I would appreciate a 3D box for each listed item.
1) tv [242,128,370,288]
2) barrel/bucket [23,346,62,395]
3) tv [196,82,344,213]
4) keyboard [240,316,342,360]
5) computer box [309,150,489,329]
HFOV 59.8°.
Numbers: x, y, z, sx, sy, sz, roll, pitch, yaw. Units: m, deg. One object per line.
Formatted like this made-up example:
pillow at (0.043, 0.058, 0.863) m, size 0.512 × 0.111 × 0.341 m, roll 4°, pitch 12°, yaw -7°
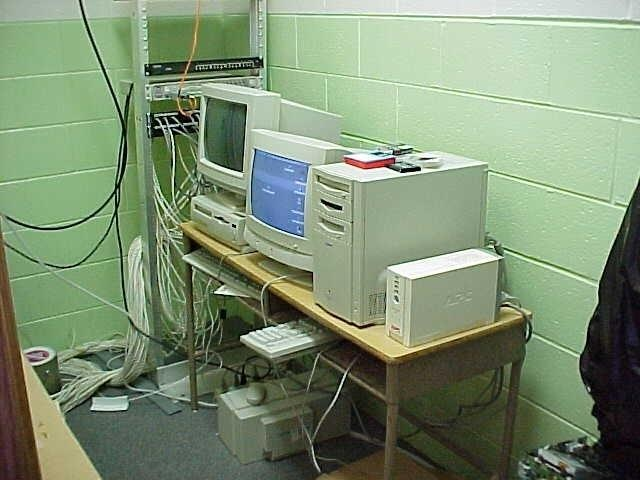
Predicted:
tv at (-0.292, -0.443, 2.570) m, size 0.392 × 0.450 × 0.526 m, roll -4°, pitch 17°, yaw -32°
barrel/bucket at (-1.456, 0.673, 2.924) m, size 0.137 × 0.254 × 0.324 m, roll -13°, pitch 27°, yaw -31°
tv at (-0.245, -0.343, 2.603) m, size 0.497 × 0.573 × 0.671 m, roll -9°, pitch 25°, yaw -31°
keyboard at (-0.121, 0.353, 1.991) m, size 0.296 × 0.066 × 0.224 m, roll -8°, pitch 14°, yaw -44°
computer box at (0.223, -0.104, 1.944) m, size 0.456 × 0.625 × 0.462 m, roll -9°, pitch 20°, yaw -32°
